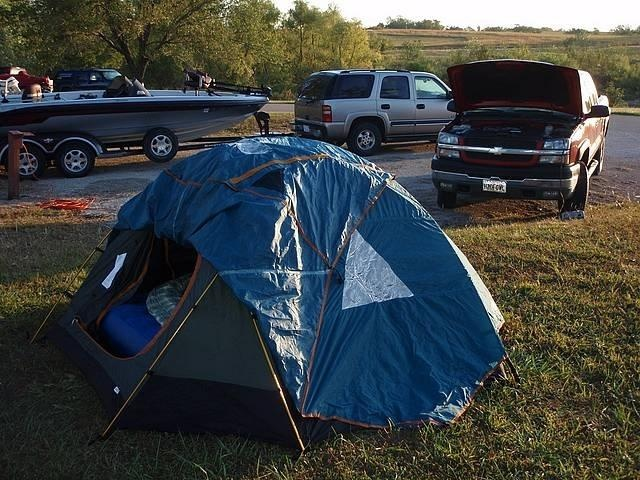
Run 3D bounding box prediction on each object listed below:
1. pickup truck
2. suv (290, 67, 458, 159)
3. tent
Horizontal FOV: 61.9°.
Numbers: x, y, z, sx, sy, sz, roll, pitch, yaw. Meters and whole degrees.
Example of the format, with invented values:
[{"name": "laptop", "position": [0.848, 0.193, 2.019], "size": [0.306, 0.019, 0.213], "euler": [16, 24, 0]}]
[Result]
[{"name": "pickup truck", "position": [3.829, -2.047, 9.710], "size": [1.871, 1.850, 3.662], "euler": [7, 16, 27]}, {"name": "suv", "position": [1.359, -3.284, 14.070], "size": [3.764, 1.697, 2.119], "euler": [-13, 24, -24]}, {"name": "tent", "position": [-0.323, 0.528, 4.876], "size": [3.042, 1.617, 3.045], "euler": [-11, 18, -30]}]
